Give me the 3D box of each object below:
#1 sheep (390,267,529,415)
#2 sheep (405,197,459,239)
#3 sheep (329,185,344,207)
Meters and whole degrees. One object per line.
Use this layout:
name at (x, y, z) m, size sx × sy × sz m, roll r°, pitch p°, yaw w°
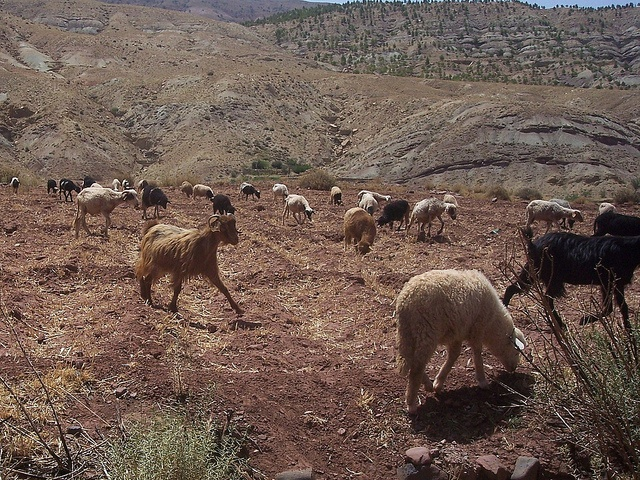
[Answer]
sheep at (2.408, 1.611, 10.188) m, size 2.668 × 2.202 × 1.130 m, roll 1°, pitch -12°, yaw -24°
sheep at (3.725, -0.824, 20.411) m, size 1.457 × 1.267 × 2.700 m, roll 3°, pitch 8°, yaw 10°
sheep at (0.734, -2.000, 28.084) m, size 0.442 × 0.755 × 0.995 m, roll 1°, pitch 8°, yaw -2°
